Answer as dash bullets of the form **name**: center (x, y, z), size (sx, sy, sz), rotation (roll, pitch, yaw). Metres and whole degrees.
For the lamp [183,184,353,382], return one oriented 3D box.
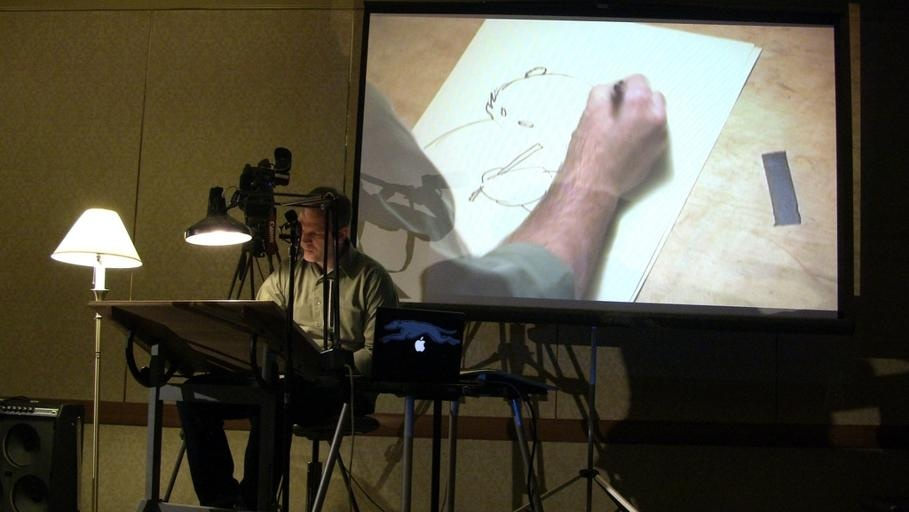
- **lamp**: center (-1.351, 0.130, 9.740), size (1.667, 1.744, 1.010), rotation (1, -9, 3)
